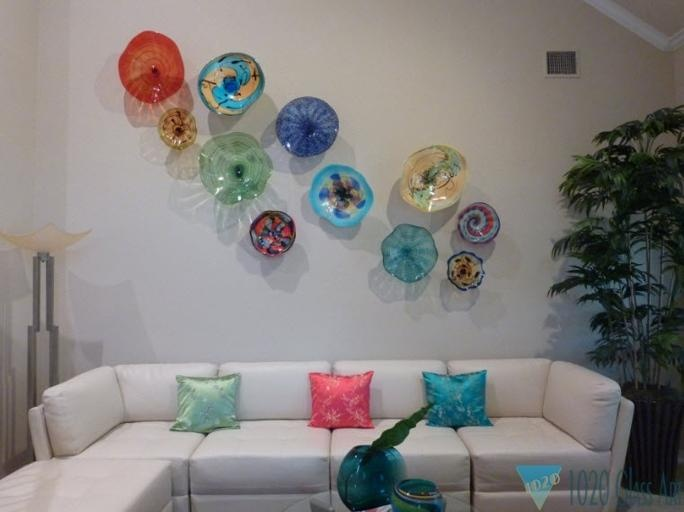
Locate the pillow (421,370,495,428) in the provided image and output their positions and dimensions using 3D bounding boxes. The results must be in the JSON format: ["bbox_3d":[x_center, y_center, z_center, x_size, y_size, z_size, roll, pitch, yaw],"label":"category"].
[{"bbox_3d":[0.947,1.178,5.114,0.397,0.368,0.155,0,-9,3],"label":"pillow"}]

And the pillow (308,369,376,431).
[{"bbox_3d":[0.000,1.198,5.135,0.370,0.365,0.153,0,-23,2],"label":"pillow"}]
